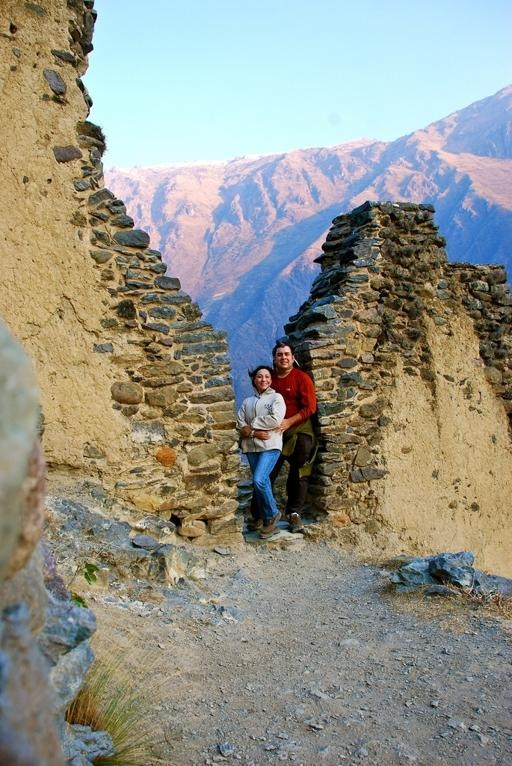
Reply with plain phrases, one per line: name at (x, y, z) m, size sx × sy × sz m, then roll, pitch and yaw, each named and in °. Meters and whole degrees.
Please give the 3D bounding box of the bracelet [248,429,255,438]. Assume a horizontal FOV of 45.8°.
bracelet at (-0.045, 0.445, 5.420) m, size 0.048 × 0.060 × 0.025 m, roll -3°, pitch 9°, yaw 19°

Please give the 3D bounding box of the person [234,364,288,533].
person at (0.076, 0.601, 5.518) m, size 0.430 × 1.527 × 0.420 m, roll -6°, pitch 0°, yaw -9°

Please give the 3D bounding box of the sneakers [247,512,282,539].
sneakers at (0.091, 1.315, 5.618) m, size 0.133 × 0.155 × 0.387 m, roll 3°, pitch -9°, yaw 22°
